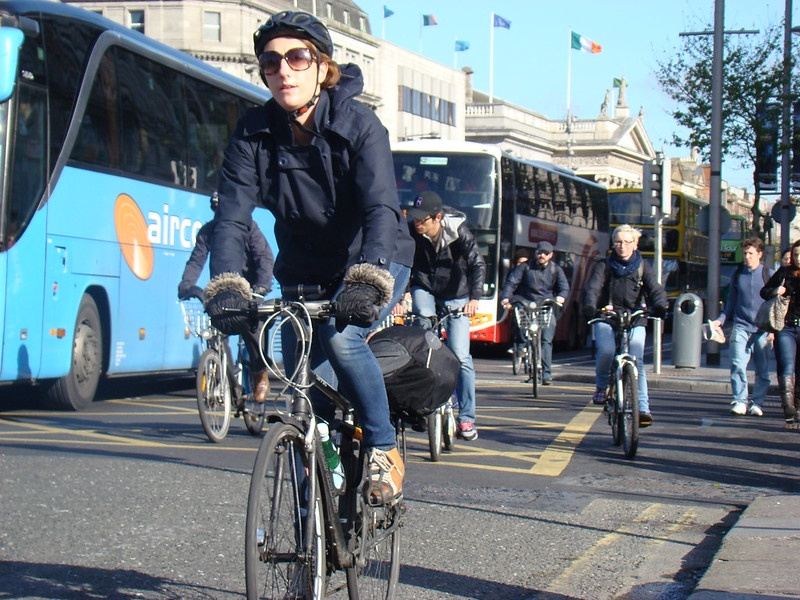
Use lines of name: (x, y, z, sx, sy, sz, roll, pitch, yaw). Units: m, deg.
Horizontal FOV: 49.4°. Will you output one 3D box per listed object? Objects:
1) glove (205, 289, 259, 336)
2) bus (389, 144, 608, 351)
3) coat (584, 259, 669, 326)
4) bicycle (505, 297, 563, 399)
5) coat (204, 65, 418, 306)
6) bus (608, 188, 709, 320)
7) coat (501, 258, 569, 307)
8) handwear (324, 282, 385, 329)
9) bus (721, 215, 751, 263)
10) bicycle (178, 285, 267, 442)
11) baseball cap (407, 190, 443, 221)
glove: (-0.688, 0.013, 3.546, 0.232, 0.210, 0.184, -9, 19, -37)
bus: (2.811, -1.655, 24.215, 3.065, 4.939, 9.638, 1, -3, 17)
coat: (2.307, 0.104, 9.146, 0.850, 0.762, 0.673, 0, -8, 4)
bicycle: (2.369, 0.579, 15.367, 0.849, 1.588, 2.557, -1, 9, 8)
coat: (-0.309, -0.521, 4.036, 0.954, 1.320, 0.866, 1, 3, 6)
bus: (11.507, -2.737, 40.210, 4.138, 6.492, 12.489, 0, -3, 19)
coat: (2.273, -0.360, 14.709, 1.042, 0.743, 0.893, 1, 2, 8)
handwear: (-0.179, -0.010, 3.413, 0.137, 0.098, 0.190, -16, 38, -12)
bus: (20.191, -3.568, 52.967, 1.526, 3.216, 5.991, 6, 5, 24)
bicycle: (-1.756, 0.711, 9.121, 0.883, 1.485, 2.185, -2, -8, 7)
baseball cap: (0.230, -0.941, 8.581, 0.336, 0.205, 0.232, -7, 13, -41)
